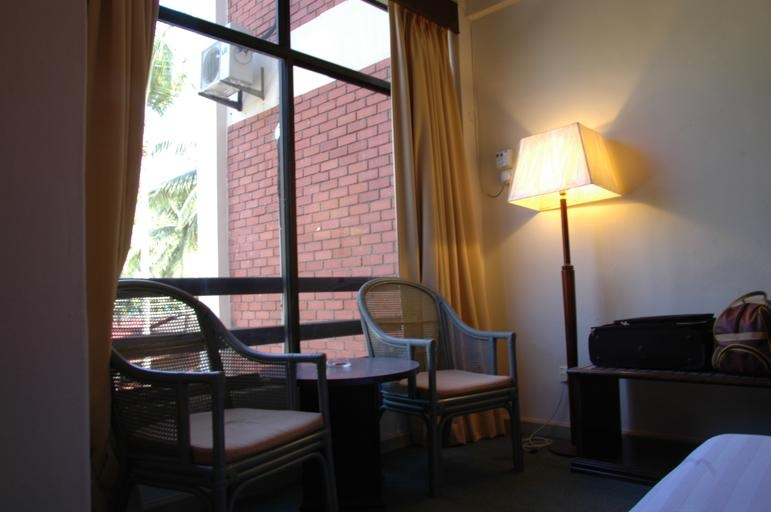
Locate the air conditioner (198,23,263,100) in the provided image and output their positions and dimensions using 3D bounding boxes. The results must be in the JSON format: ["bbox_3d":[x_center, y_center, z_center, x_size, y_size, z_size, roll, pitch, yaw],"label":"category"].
[{"bbox_3d":[-0.768,-0.980,3.068,0.358,0.264,0.263,-7,-12,36],"label":"air conditioner"}]

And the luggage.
[{"bbox_3d":[1.331,0.458,2.991,0.577,0.251,0.127,0,3,33],"label":"luggage"}]
